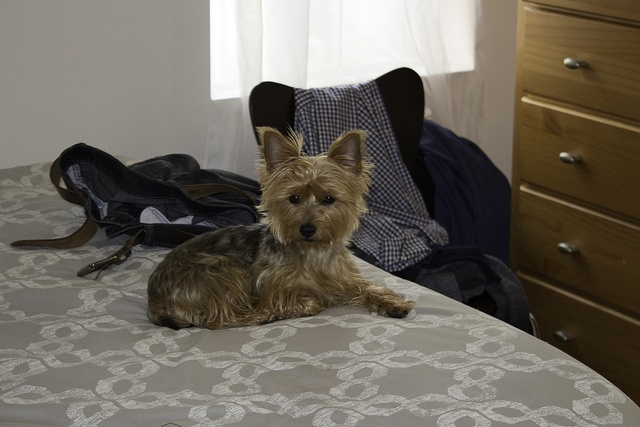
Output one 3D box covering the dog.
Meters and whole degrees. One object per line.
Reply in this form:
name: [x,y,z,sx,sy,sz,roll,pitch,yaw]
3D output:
dog: [-0.192,0.034,2.311,1.066,0.729,0.630,-2,10,-5]
